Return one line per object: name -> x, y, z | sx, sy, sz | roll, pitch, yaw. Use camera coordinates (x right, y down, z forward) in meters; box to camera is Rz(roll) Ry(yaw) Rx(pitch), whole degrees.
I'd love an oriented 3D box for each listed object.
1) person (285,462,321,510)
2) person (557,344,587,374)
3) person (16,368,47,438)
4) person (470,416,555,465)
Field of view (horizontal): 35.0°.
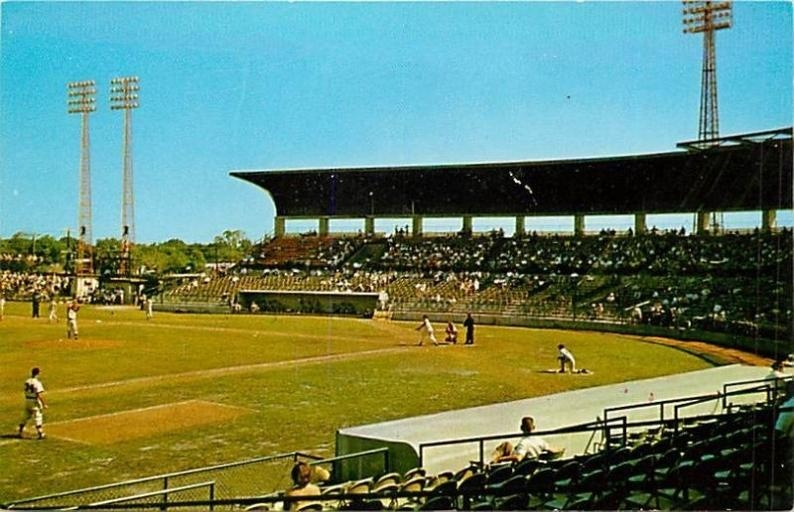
person -> -2.284, 5.520, 30.336 | 0.824, 0.858, 1.241 | -2, 1, -5
person -> 5.132, 3.074, 37.292 | 0.785, 0.831, 0.926 | -2, 1, -6
person -> -9.679, 3.878, 33.336 | 0.715, 1.550, 1.698 | -3, 1, -16
person -> 3.138, 4.580, 31.229 | 1.690, 1.084, 0.696 | -2, 1, 3
